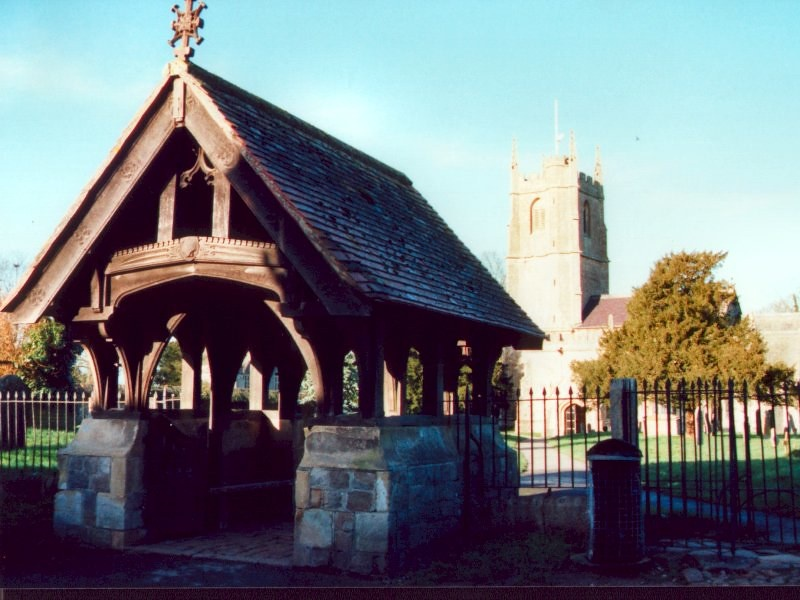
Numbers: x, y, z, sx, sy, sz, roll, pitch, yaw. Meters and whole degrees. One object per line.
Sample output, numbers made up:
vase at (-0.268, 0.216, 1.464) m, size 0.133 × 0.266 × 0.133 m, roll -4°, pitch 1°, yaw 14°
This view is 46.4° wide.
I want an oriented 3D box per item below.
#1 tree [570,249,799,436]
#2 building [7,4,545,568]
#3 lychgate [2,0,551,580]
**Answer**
tree at (11.357, 2.132, 37.167) m, size 8.261 × 9.405 × 7.504 m, roll 5°, pitch 1°, yaw 45°
building at (-3.244, 0.756, 18.849) m, size 8.618 × 11.496 × 8.660 m, roll -2°, pitch -5°, yaw 27°
lychgate at (-3.278, 0.744, 18.886) m, size 8.622 × 11.592 × 8.775 m, roll -2°, pitch -6°, yaw 27°
